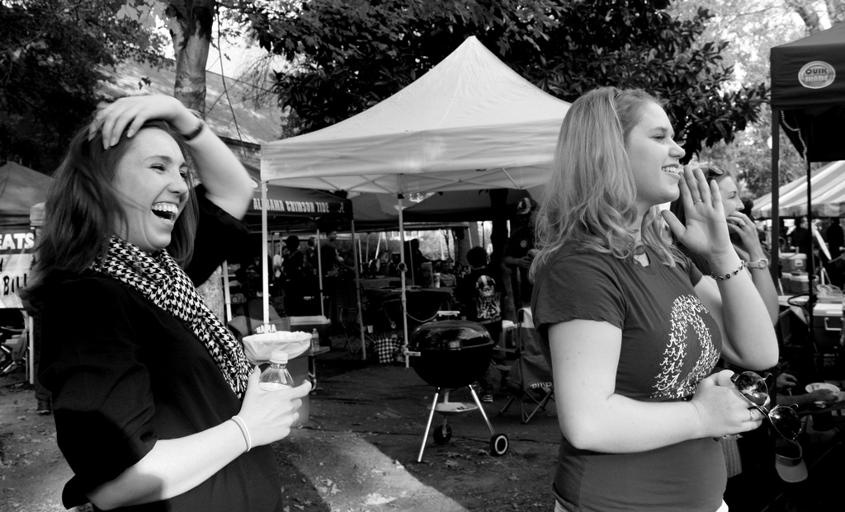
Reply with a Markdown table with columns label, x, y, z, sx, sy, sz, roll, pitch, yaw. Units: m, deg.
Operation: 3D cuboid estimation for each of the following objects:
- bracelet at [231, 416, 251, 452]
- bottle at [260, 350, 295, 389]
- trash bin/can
| label | x | y | z | sx | sy | sz | roll | pitch | yaw |
| --- | --- | --- | --- | --- | --- | --- | --- | --- | --- |
| bracelet | -0.746 | 0.728 | 2.761 | 0.086 | 0.131 | 0.027 | 1 | 6 | 25 |
| bottle | -0.669 | 0.531 | 3.045 | 0.179 | 0.182 | 0.180 | 5 | -6 | 4 |
| trash bin/can | -0.749 | 0.695 | 3.737 | 0.272 | 0.361 | 0.292 | -15 | 12 | -36 |
